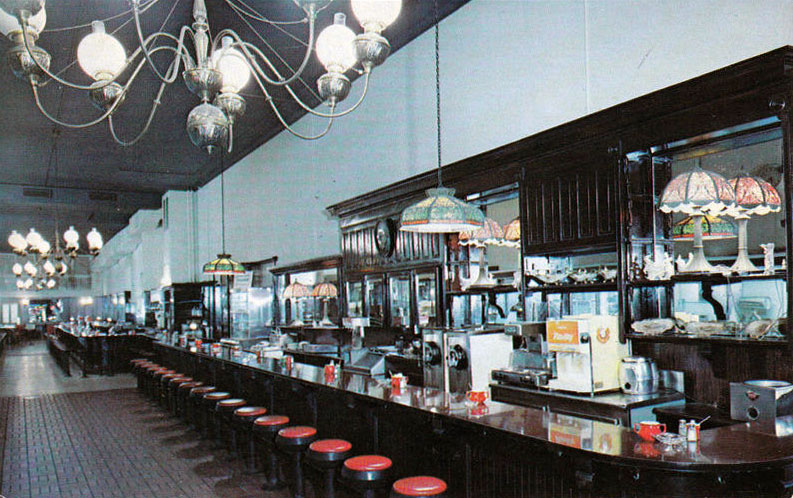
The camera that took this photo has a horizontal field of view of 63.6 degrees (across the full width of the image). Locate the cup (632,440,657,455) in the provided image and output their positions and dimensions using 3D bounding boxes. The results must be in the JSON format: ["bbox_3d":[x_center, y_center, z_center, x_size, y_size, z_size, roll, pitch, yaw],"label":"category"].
[{"bbox_3d":[2.257,1.808,5.778,0.208,0.093,0.264,-4,-7,17],"label":"cup"}]

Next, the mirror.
[{"bbox_3d":[-1.523,0.972,13.460,0.718,1.210,2.030,2,-1,-36],"label":"mirror"}]

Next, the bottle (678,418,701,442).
[{"bbox_3d":[2.739,1.689,5.963,0.161,0.183,0.259,-5,-7,27],"label":"bottle"}]

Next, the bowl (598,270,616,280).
[{"bbox_3d":[2.584,0.306,7.760,0.134,0.091,0.134,2,-6,0],"label":"bowl"}]

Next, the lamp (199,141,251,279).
[{"bbox_3d":[-4.369,-1.087,16.605,0.906,3.595,1.034,1,-1,-28],"label":"lamp"}]

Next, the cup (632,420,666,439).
[{"bbox_3d":[2.400,1.694,6.026,0.241,0.158,0.181,3,-12,9],"label":"cup"}]

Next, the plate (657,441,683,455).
[{"bbox_3d":[2.492,1.787,5.781,0.242,0.114,0.236,-5,-7,22],"label":"plate"}]

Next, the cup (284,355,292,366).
[{"bbox_3d":[-1.481,1.562,8.896,0.115,0.200,0.112,-4,-6,0],"label":"cup"}]

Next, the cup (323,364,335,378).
[{"bbox_3d":[-0.844,1.548,8.122,0.129,0.135,0.127,-1,-3,0],"label":"cup"}]

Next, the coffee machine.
[{"bbox_3d":[1.682,1.280,8.193,0.733,0.886,0.974,4,-8,-24],"label":"coffee machine"}]
